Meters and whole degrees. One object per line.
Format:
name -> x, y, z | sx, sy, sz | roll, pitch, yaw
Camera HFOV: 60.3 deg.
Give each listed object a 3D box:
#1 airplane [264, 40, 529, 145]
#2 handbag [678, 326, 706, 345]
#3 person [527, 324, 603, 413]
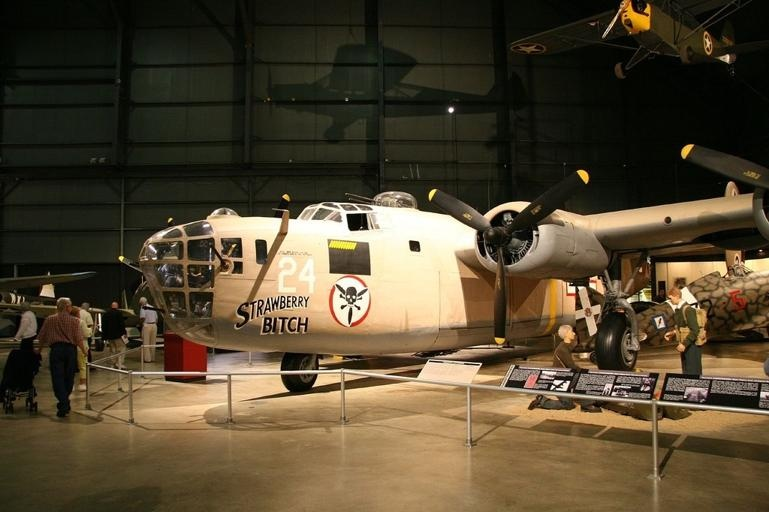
airplane -> 0.472, -7.205, 29.896 | 7.328, 2.040, 6.008 | 2, 1, -1
handbag -> 7.170, 1.903, 15.604 | 0.559, 0.356, 0.486 | 5, 5, 40
person -> 4.288, 2.636, 15.723 | 1.582, 2.077, 1.093 | 1, 14, 14
